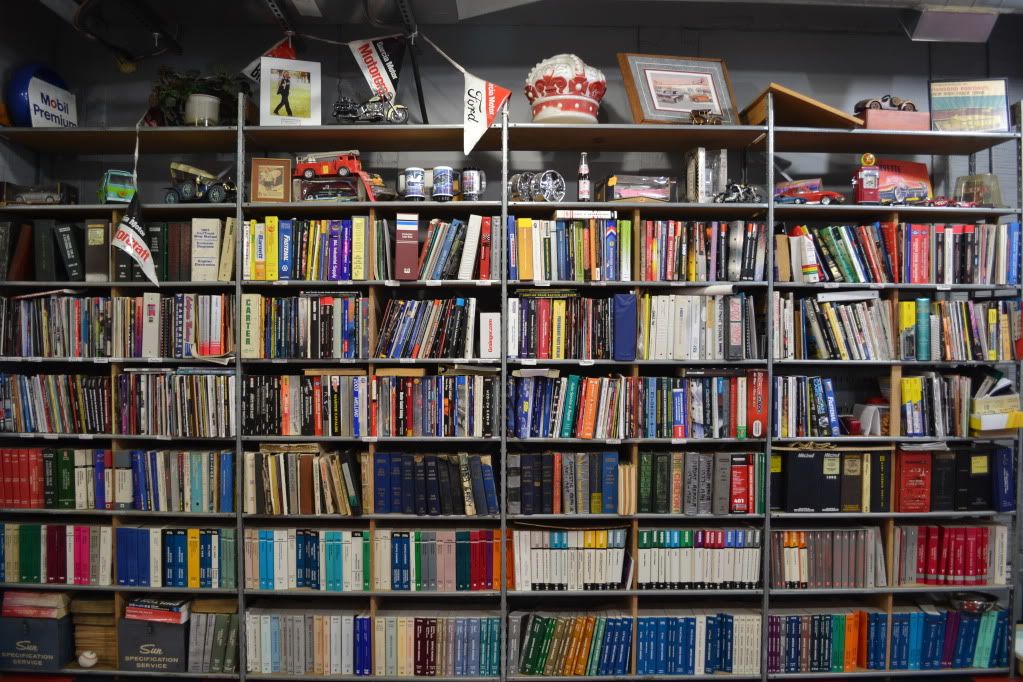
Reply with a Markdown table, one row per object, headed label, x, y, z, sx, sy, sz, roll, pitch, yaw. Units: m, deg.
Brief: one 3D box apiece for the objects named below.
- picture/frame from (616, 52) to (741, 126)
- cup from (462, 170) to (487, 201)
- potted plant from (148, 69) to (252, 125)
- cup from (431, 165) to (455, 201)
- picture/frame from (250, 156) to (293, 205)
| label | x | y | z | sx | sy | sz | roll | pitch | yaw |
| --- | --- | --- | --- | --- | --- | --- | --- | --- | --- |
| picture/frame | 1.058 | -1.625 | 10.036 | 0.637 | 0.399 | 0.061 | -1 | -28 | -11 |
| cup | -0.250 | -0.995 | 9.932 | 0.202 | 0.250 | 0.184 | 0 | -3 | 0 |
| potted plant | -2.121 | -1.565 | 10.220 | 0.656 | 0.301 | 0.609 | -2 | 2 | 29 |
| cup | -0.439 | -1.009 | 9.897 | 0.203 | 0.282 | 0.204 | 0 | 1 | 0 |
| picture/frame | -1.545 | -1.023 | 9.922 | 0.328 | 0.352 | 0.031 | 1 | -3 | -6 |
